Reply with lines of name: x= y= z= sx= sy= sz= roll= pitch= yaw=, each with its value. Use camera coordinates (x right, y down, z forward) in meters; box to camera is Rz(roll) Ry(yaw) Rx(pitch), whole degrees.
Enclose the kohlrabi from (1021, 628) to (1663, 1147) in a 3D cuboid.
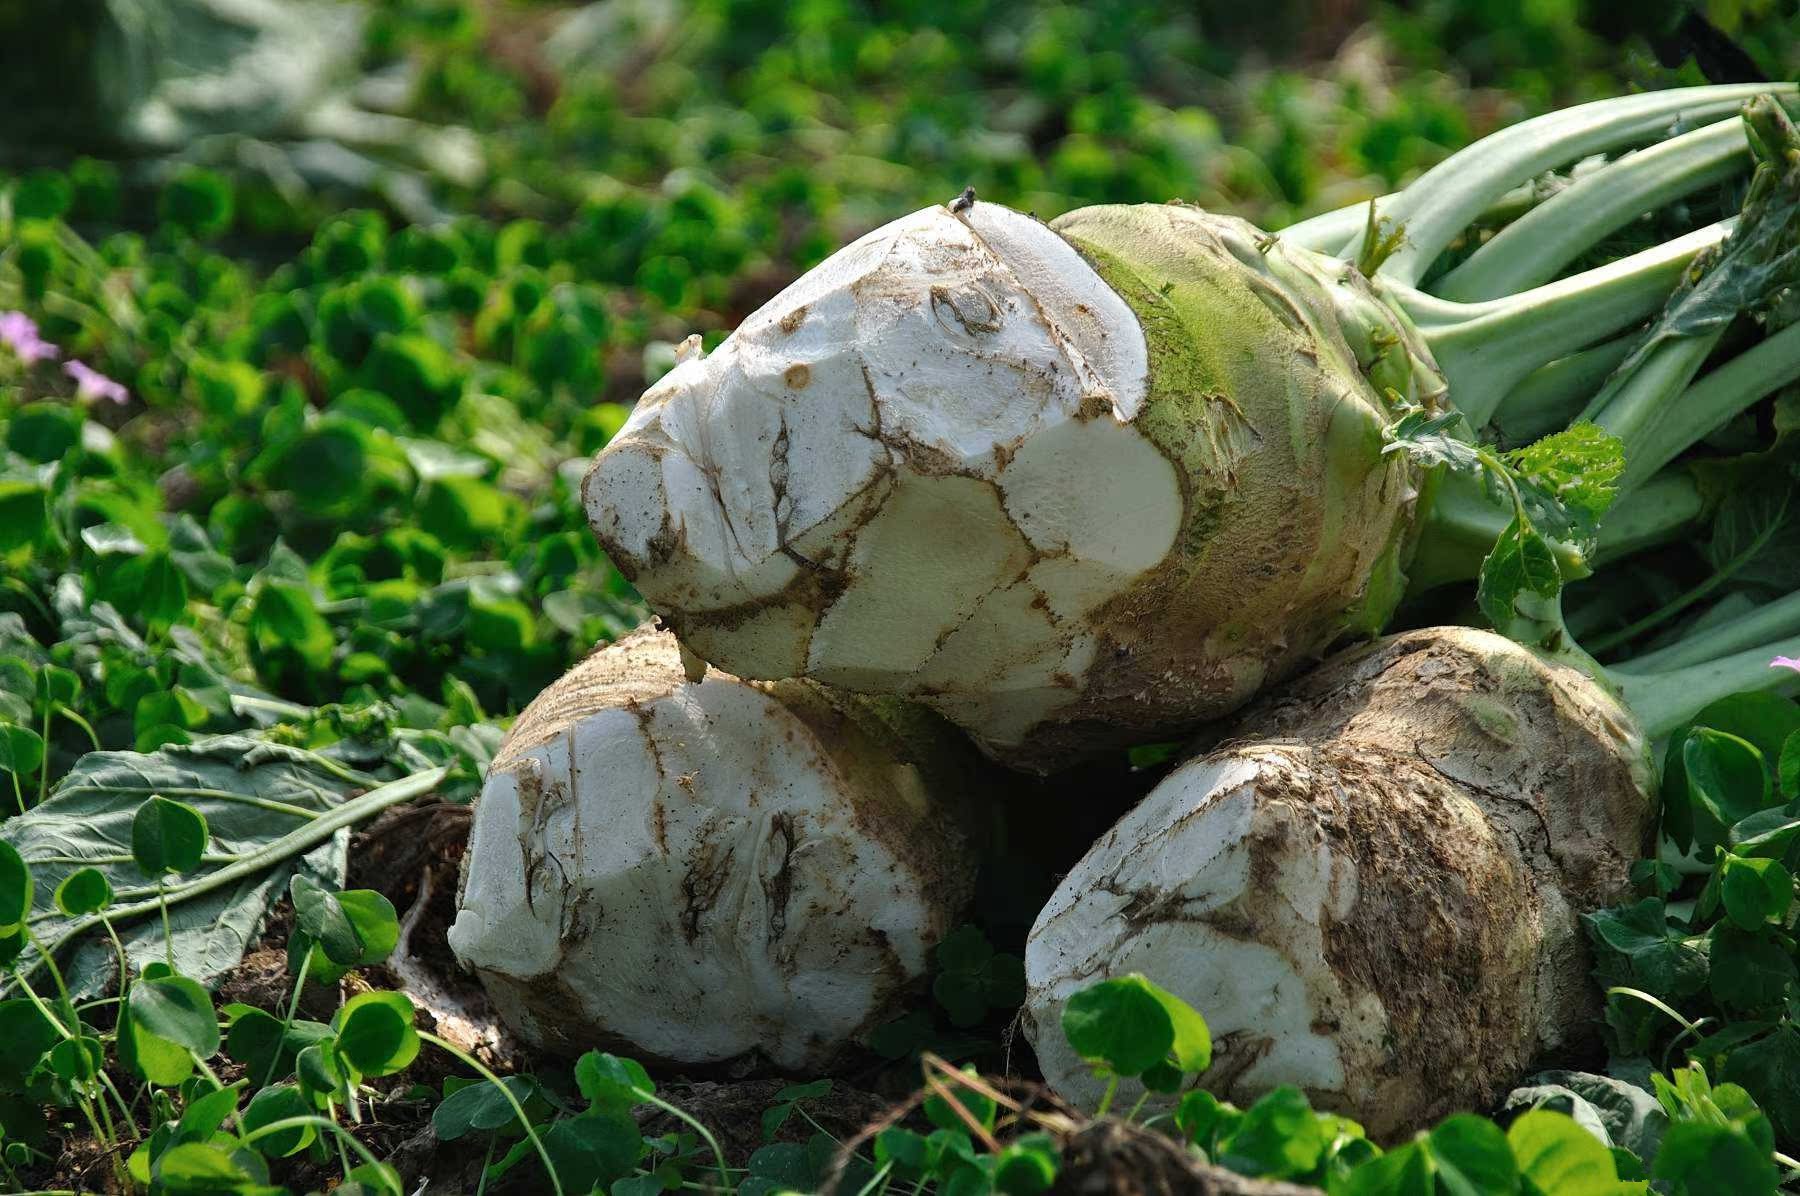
kohlrabi: x=0.608 y=0.369 z=3.237 sx=0.493 sy=0.476 sz=0.842 roll=30 pitch=47 yaw=26
